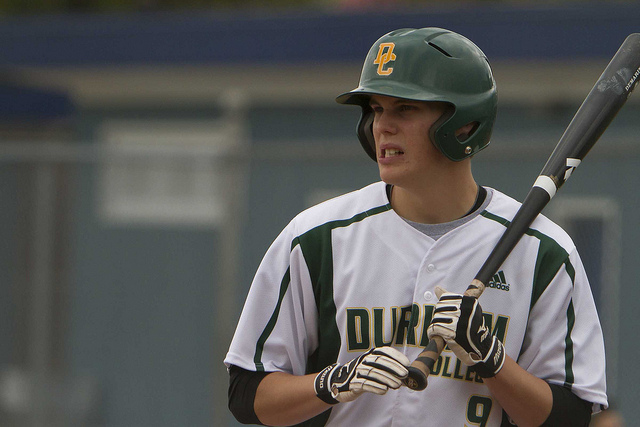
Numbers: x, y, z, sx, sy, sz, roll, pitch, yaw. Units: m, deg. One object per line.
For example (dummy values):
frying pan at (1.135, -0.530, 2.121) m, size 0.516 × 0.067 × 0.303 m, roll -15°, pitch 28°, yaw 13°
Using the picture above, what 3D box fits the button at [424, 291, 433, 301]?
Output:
button at (0.646, 0.487, 8.542) m, size 0.047 × 0.053 × 0.018 m, roll 0°, pitch -3°, yaw -4°

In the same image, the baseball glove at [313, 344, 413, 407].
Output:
baseball glove at (0.265, 0.986, 8.449) m, size 0.618 × 0.232 × 0.401 m, roll 7°, pitch 35°, yaw 43°

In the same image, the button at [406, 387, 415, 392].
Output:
button at (0.539, 1.034, 8.456) m, size 0.039 × 0.025 × 0.084 m, roll 3°, pitch -6°, yaw 2°
